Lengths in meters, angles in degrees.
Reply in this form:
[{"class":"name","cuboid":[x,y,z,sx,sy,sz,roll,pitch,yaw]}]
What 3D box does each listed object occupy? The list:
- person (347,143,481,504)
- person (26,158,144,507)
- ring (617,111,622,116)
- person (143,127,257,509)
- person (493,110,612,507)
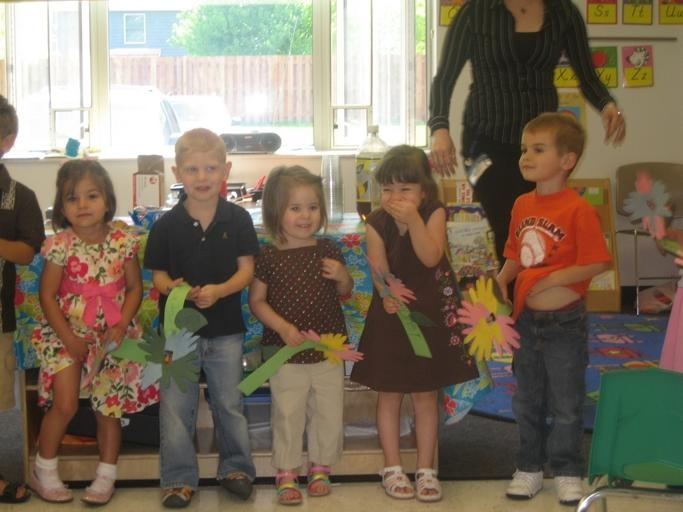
[{"class":"person","cuboid":[0.234,0.206,2.266,0.410,1.125,0.240,0,4,1]},{"class":"person","cuboid":[-0.801,0.235,2.233,0.395,1.088,0.234,-2,5,-23]},{"class":"ring","cuboid":[0.932,-0.479,2.355,0.008,0.008,0.019,-35,9,14]},{"class":"person","cuboid":[-0.455,0.186,2.267,0.363,1.193,0.260,0,4,-3]},{"class":"person","cuboid":[0.664,0.156,2.220,0.331,1.225,0.215,1,4,12]}]
